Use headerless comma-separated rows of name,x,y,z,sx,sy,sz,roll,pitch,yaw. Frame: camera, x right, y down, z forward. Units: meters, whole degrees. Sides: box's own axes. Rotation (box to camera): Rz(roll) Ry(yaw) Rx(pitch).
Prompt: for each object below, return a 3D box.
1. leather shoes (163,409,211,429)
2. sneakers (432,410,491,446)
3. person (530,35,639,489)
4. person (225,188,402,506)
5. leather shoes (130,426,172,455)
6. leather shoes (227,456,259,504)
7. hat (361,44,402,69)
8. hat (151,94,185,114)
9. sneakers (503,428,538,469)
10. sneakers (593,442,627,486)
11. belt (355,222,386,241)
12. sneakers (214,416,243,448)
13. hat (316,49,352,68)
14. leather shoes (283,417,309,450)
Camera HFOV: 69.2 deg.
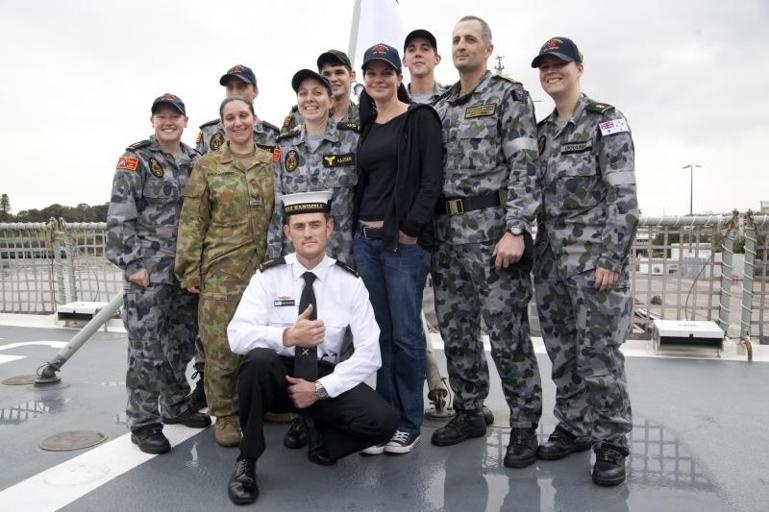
leather shoes,-1.649,1.365,4.703,0.351,0.132,0.152,-1,-2,2
sneakers,0.605,1.353,4.388,0.536,0.279,0.189,0,4,-23
person,1.428,-0.014,3.997,0.585,3.052,0.995,-7,12,-25
person,-0.560,0.559,3.948,1.179,1.997,0.745,-4,12,-16
leather shoes,-1.766,1.412,4.290,0.369,0.152,0.147,0,-1,39
leather shoes,-0.932,1.506,3.741,0.141,0.122,0.360,5,2,-9
hat,-0.005,-1.495,4.189,0.258,0.206,0.201,-9,13,-38
hat,-1.691,-1.196,4.368,0.236,0.150,0.261,-5,11,-20
sneakers,0.985,1.399,4.056,0.153,0.160,0.400,-2,-4,21
sneakers,1.582,1.428,3.892,0.303,0.237,0.228,-1,10,0
belt,-0.112,-0.191,4.325,0.186,0.073,0.128,5,-13,5
sneakers,-1.221,1.381,4.380,0.150,0.154,0.385,2,-6,-22
hat,-0.429,-1.794,5.097,0.339,0.184,0.249,-7,12,-30
leather shoes,-0.686,1.408,4.390,0.186,0.109,0.282,-4,19,-5
